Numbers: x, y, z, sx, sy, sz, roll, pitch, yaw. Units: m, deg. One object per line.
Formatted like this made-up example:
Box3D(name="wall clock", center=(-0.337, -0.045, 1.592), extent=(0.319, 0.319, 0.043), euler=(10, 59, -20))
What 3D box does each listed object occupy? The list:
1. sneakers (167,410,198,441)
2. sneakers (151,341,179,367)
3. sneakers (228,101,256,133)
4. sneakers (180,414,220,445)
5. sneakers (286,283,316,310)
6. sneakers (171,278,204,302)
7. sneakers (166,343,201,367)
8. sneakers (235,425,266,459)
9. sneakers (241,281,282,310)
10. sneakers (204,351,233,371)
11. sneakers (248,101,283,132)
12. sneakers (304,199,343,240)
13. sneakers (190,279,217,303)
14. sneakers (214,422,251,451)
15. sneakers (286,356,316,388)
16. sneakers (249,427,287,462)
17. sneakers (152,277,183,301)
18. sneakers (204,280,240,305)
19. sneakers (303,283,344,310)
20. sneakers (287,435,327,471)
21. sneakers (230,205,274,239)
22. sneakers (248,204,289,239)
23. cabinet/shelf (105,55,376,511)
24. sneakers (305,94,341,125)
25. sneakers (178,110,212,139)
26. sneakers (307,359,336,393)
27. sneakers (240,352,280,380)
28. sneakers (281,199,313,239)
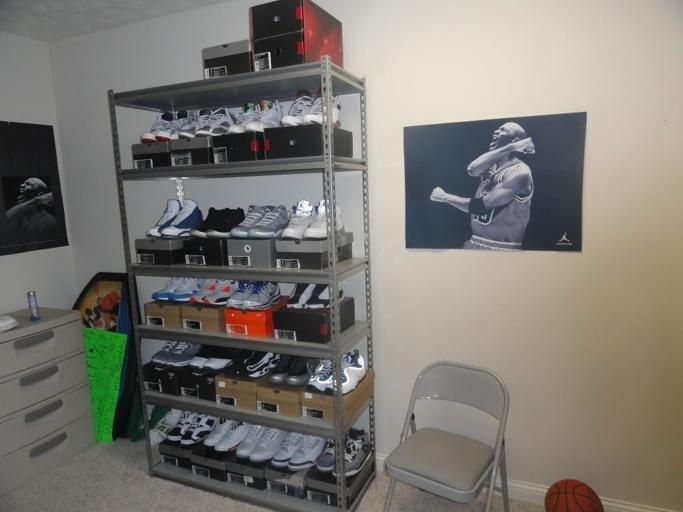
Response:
Box3D(name="sneakers", center=(-1.124, 1.229, 3.815), extent=(0.107, 0.125, 0.324), euler=(4, 2, 14))
Box3D(name="sneakers", center=(-1.266, 0.696, 3.746), extent=(0.118, 0.130, 0.327), euler=(3, -1, 5))
Box3D(name="sneakers", center=(-0.679, -0.920, 3.516), extent=(0.147, 0.181, 0.430), euler=(0, 15, 5))
Box3D(name="sneakers", center=(-0.982, 1.217, 3.782), extent=(0.120, 0.139, 0.355), euler=(7, 10, 36))
Box3D(name="sneakers", center=(-0.254, 0.252, 3.369), extent=(0.090, 0.115, 0.264), euler=(-1, 6, 13))
Box3D(name="sneakers", center=(-1.095, 0.241, 3.707), extent=(0.091, 0.117, 0.275), euler=(6, 10, 15))
Box3D(name="sneakers", center=(-1.108, 0.696, 3.681), extent=(0.096, 0.109, 0.258), euler=(3, 8, 15))
Box3D(name="sneakers", center=(-0.617, 1.261, 3.619), extent=(0.108, 0.126, 0.319), euler=(7, 8, 20))
Box3D(name="sneakers", center=(-0.525, 0.268, 3.449), extent=(0.103, 0.124, 0.272), euler=(2, 10, 22))
Box3D(name="sneakers", center=(-0.850, 0.721, 3.619), extent=(0.080, 0.092, 0.218), euler=(14, 9, 33))
Box3D(name="sneakers", center=(-0.479, -0.894, 3.332), extent=(0.118, 0.140, 0.325), euler=(5, 17, 24))
Box3D(name="sneakers", center=(-0.113, -0.233, 3.237), extent=(0.240, 0.242, 0.320), euler=(0, 10, 0))
Box3D(name="sneakers", center=(-0.954, 0.247, 3.631), extent=(0.100, 0.116, 0.273), euler=(3, 8, 13))
Box3D(name="sneakers", center=(-0.732, 1.248, 3.693), extent=(0.115, 0.124, 0.318), euler=(17, 25, 31))
Box3D(name="sneakers", center=(-0.261, 0.754, 3.407), extent=(0.089, 0.103, 0.261), euler=(3, 5, 16))
Box3D(name="sneakers", center=(-0.473, 1.258, 3.585), extent=(0.117, 0.134, 0.342), euler=(10, 12, 24))
Box3D(name="sneakers", center=(-1.220, 0.230, 3.788), extent=(0.108, 0.136, 0.321), euler=(4, 7, 20))
Box3D(name="sneakers", center=(-0.823, 0.250, 3.560), extent=(0.105, 0.119, 0.281), euler=(3, 6, 28))
Box3D(name="sneakers", center=(-0.102, 0.260, 3.364), extent=(0.107, 0.127, 0.284), euler=(0, 4, 36))
Box3D(name="sneakers", center=(-0.225, 1.300, 3.518), extent=(0.125, 0.132, 0.344), euler=(-1, 10, 25))
Box3D(name="sneakers", center=(-0.607, -0.228, 3.431), extent=(0.126, 0.163, 0.379), euler=(8, 18, 20))
Box3D(name="sneakers", center=(-0.448, -0.214, 3.376), extent=(0.123, 0.170, 0.359), euler=(5, 15, 23))
Box3D(name="cabinet/shelf", center=(-0.585, 0.192, 3.541), extent=(1.662, 2.811, 0.681), euler=(4, 11, 18))
Box3D(name="sneakers", center=(-0.103, -0.881, 3.185), extent=(0.112, 0.140, 0.327), euler=(4, 10, 16))
Box3D(name="sneakers", center=(-0.968, -0.878, 3.480), extent=(0.361, 0.151, 0.127), euler=(3, 14, 20))
Box3D(name="sneakers", center=(-0.130, 0.760, 3.344), extent=(0.153, 0.144, 0.198), euler=(1, 10, 2))
Box3D(name="sneakers", center=(-0.546, 0.733, 3.594), extent=(0.112, 0.140, 0.319), euler=(2, 10, 35))
Box3D(name="sneakers", center=(-0.267, -0.217, 3.291), extent=(0.117, 0.159, 0.360), euler=(4, 16, 15))
